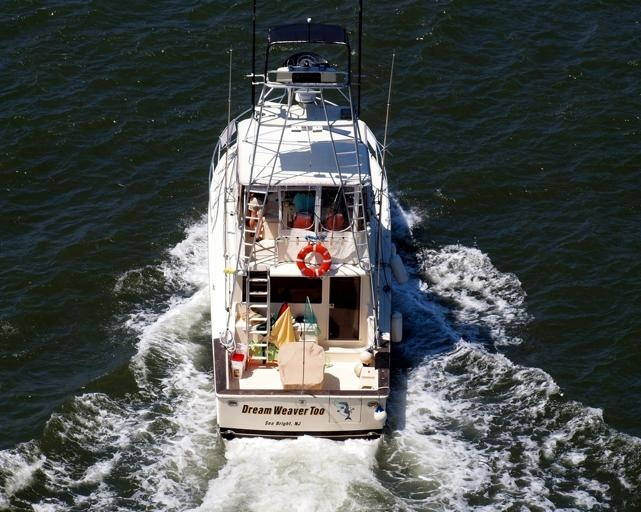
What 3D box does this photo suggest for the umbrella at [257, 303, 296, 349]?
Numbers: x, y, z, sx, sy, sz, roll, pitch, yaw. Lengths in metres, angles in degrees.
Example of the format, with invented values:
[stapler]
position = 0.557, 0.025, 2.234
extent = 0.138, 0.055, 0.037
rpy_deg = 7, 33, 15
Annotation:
[umbrella]
position = -1.059, 1.949, 39.155
extent = 1.248, 1.646, 0.918
rpy_deg = 0, 37, -1

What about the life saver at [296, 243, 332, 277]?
[life saver]
position = -0.187, 0.112, 39.004
extent = 0.822, 0.683, 0.628
rpy_deg = -5, 40, -7
